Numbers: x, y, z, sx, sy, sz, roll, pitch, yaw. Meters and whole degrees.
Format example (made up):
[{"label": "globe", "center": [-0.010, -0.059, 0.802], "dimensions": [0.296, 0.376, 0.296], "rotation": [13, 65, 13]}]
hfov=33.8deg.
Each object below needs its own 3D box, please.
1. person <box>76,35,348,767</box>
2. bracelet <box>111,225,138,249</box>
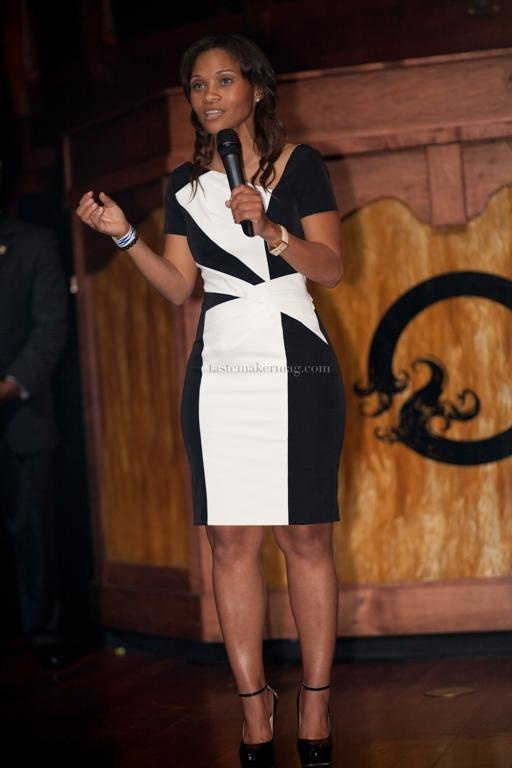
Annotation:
[{"label": "person", "center": [-0.039, 0.019, 1.798], "dimensions": [0.464, 1.522, 0.364], "rotation": [0, 6, 31]}, {"label": "bracelet", "center": [-0.290, -0.313, 1.825], "dimensions": [0.049, 0.039, 0.055], "rotation": [-40, 16, -6]}]
